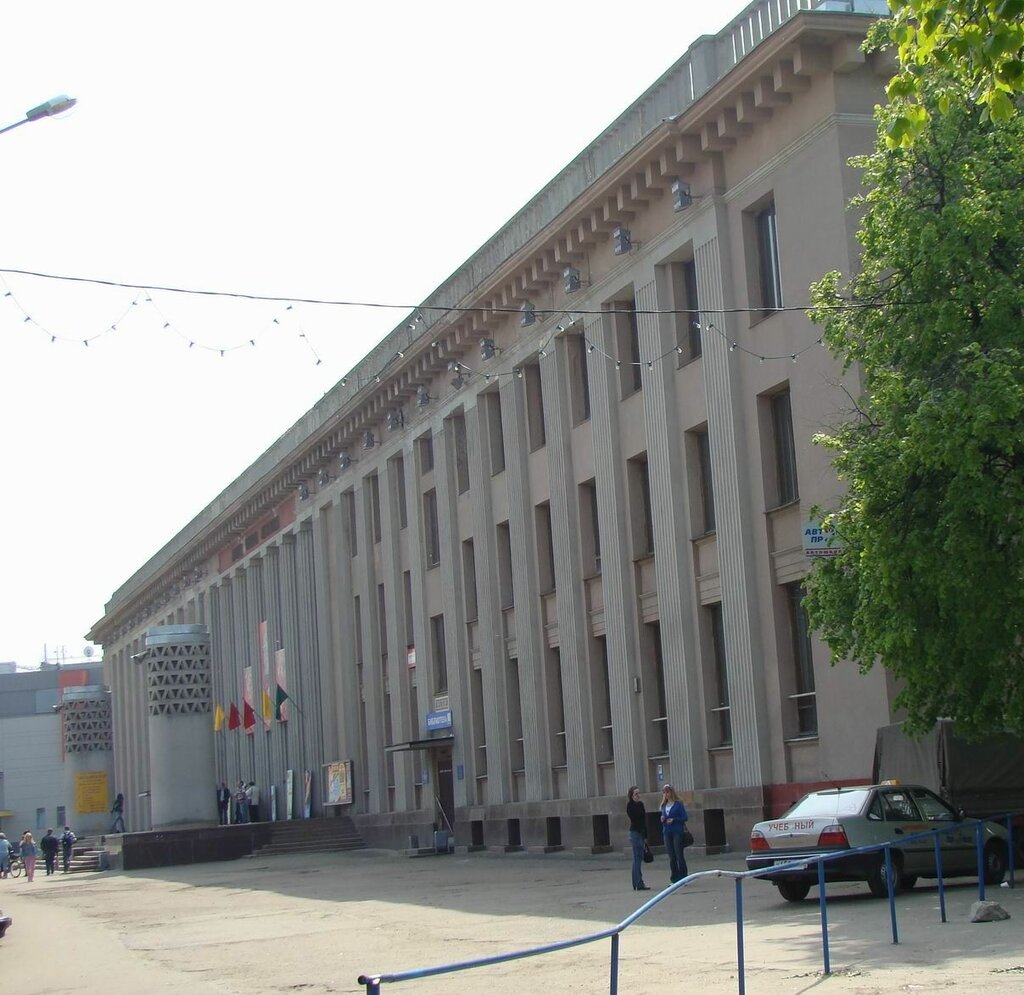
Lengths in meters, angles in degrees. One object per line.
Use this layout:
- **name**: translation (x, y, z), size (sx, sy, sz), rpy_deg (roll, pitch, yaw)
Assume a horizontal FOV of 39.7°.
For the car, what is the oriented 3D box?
- **car**: translation (4.373, 4.131, 17.037), size (2.985, 1.326, 1.487), rpy_deg (1, -15, -27)
